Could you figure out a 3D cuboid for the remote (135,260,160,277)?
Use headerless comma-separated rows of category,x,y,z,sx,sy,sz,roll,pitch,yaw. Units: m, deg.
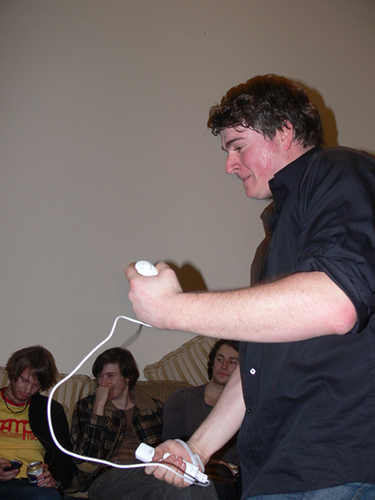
remote,-0.056,0.032,0.742,0.025,0.011,0.031,-11,33,-21

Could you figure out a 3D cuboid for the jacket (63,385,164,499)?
jacket,-0.349,0.856,2.226,0.440,0.475,0.198,4,-10,5

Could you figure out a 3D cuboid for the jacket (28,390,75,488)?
jacket,-0.628,0.860,2.205,0.181,0.396,0.276,-3,-6,-32
